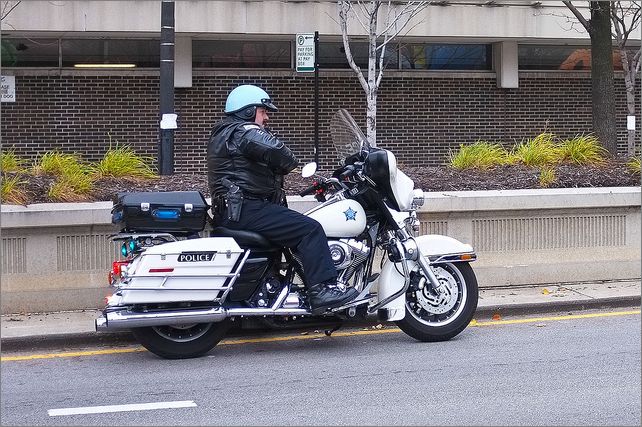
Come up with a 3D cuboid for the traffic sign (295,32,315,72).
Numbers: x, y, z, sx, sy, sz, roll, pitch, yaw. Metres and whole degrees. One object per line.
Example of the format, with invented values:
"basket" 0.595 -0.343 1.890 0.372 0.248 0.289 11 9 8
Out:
"traffic sign" -0.282 -3.049 19.569 0.344 0.685 0.370 -2 5 -5
